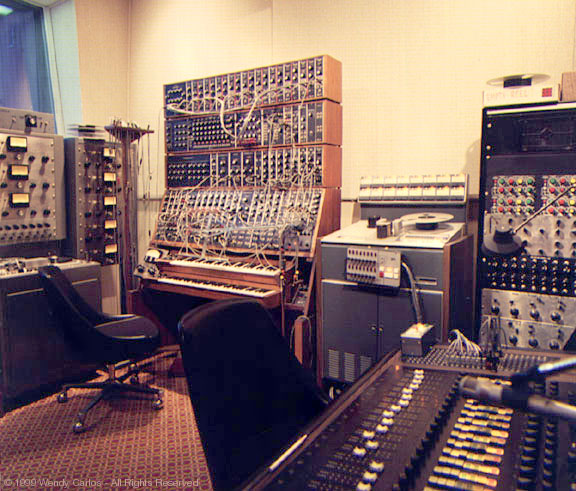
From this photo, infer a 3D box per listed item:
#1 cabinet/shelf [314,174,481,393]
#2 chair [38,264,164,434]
[{"bbox_3d":[0.718,0.233,3.304,0.887,1.366,0.940,7,12,36],"label":"cabinet/shelf"},{"bbox_3d":[-1.306,0.642,3.423,0.659,1.013,0.737,-1,3,-9],"label":"chair"}]
